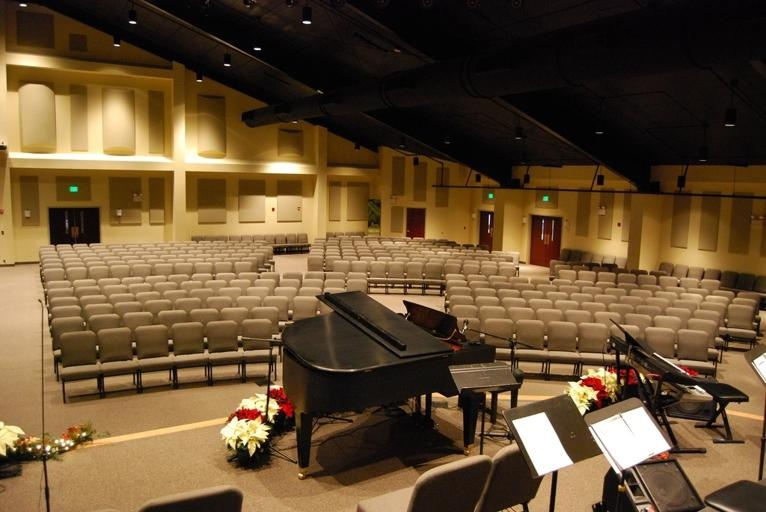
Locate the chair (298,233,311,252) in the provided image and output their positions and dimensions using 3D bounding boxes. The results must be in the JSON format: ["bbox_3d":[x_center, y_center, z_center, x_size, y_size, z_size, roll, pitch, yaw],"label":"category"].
[{"bbox_3d":[-3.636,-0.630,25.255,0.389,0.874,0.830,2,5,18],"label":"chair"}]

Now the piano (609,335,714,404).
[{"bbox_3d":[4.388,2.115,8.962,0.685,0.958,1.142,19,14,14],"label":"piano"}]

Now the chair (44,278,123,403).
[{"bbox_3d":[-5.388,1.844,9.881,1.633,1.314,0.974,5,7,44],"label":"chair"}]

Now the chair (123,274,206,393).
[{"bbox_3d":[-3.992,1.834,10.273,1.266,1.153,1.037,-2,6,-24],"label":"chair"}]

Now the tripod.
[{"bbox_3d":[1.932,2.301,9.622,1.293,1.906,1.126,0,-16,19],"label":"tripod"}]

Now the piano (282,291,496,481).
[{"bbox_3d":[-0.147,2.165,8.627,2.675,1.744,2.496,-7,16,-24],"label":"piano"}]

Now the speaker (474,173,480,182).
[{"bbox_3d":[4.240,-3.475,24.054,0.270,0.373,0.909,1,4,9],"label":"speaker"}]

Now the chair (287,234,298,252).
[{"bbox_3d":[-4.134,-0.599,24.802,0.551,0.821,0.359,-2,6,-26],"label":"chair"}]

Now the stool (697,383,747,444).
[{"bbox_3d":[5.699,2.634,9.150,0.472,0.752,0.868,2,1,5],"label":"stool"}]

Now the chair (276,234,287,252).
[{"bbox_3d":[-4.675,-0.554,24.620,0.597,0.845,0.666,1,1,-22],"label":"chair"}]
